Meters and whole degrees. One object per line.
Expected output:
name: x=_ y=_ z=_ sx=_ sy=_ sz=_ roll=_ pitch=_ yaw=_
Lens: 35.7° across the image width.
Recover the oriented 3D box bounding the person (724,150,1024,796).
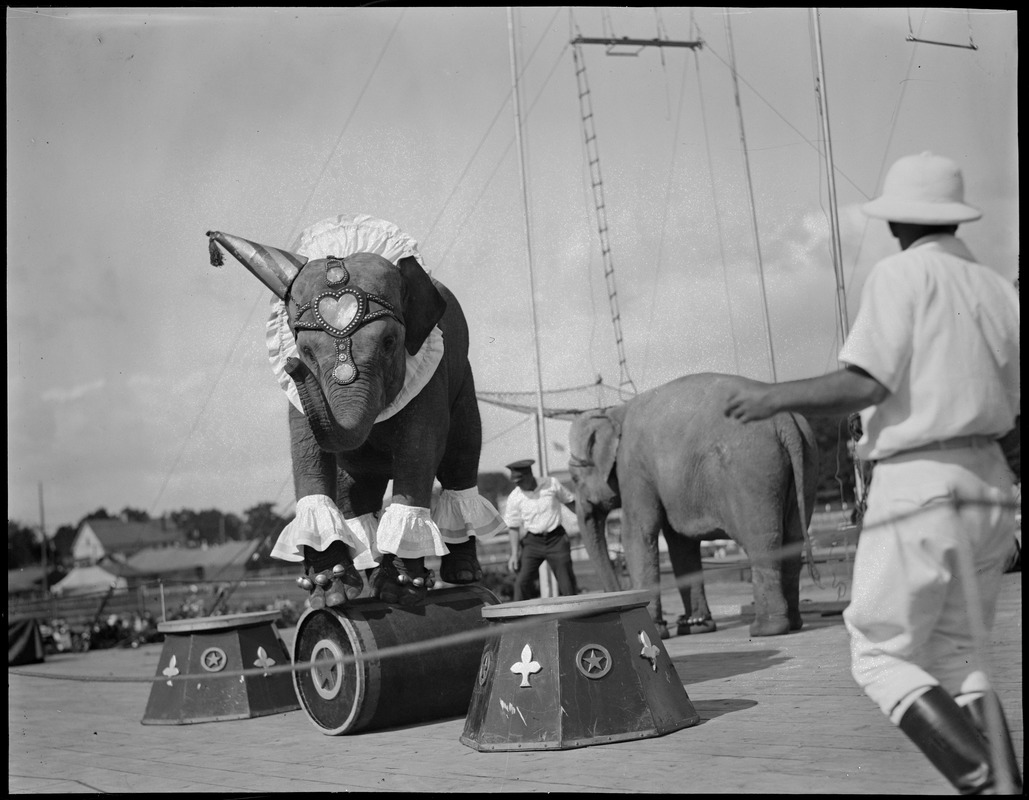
person: x=1.603 y=0.278 z=6.316 sx=0.945 sy=2.549 sz=0.389 roll=-6 pitch=-5 yaw=8

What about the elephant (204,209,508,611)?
elephant: x=-0.804 y=0.038 z=8.227 sx=0.885 sy=2.004 sz=1.942 roll=-6 pitch=-6 yaw=13
